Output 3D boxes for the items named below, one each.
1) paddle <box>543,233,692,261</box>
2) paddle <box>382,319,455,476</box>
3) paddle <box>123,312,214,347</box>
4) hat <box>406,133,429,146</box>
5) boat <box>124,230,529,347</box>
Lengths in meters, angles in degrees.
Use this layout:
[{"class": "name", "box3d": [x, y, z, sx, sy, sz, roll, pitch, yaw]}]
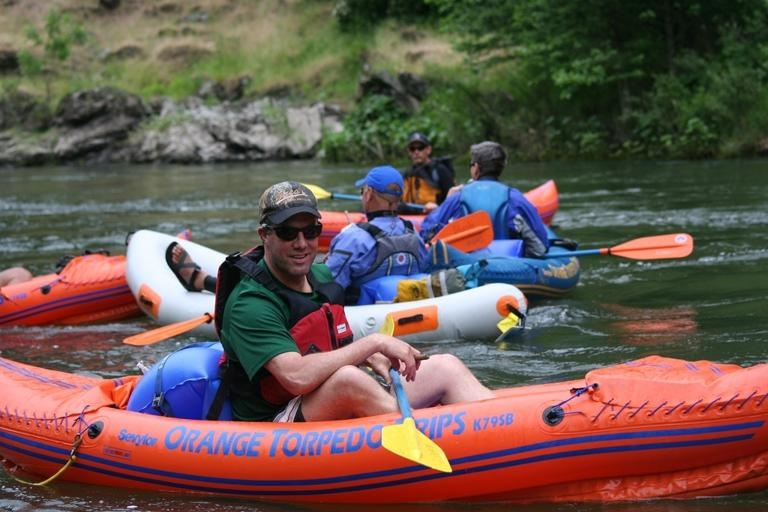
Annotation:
[{"class": "paddle", "box3d": [3.655, -0.127, 19.218, 2.081, 0.416, 0.215, -5, -32, 14]}, {"class": "paddle", "box3d": [0.220, 1.943, 16.616, 0.881, 0.294, 2.636, 16, 26, -19]}, {"class": "paddle", "box3d": [-3.059, 1.077, 17.885, 1.383, 0.110, 0.197, -16, 54, -39]}, {"class": "hat", "box3d": [0.597, -1.978, 20.836, 0.314, 0.206, 0.456, -4, 5, 2]}, {"class": "boat", "box3d": [-0.938, 0.672, 18.222, 4.909, 1.404, 2.270, 1, 9, 9]}]
